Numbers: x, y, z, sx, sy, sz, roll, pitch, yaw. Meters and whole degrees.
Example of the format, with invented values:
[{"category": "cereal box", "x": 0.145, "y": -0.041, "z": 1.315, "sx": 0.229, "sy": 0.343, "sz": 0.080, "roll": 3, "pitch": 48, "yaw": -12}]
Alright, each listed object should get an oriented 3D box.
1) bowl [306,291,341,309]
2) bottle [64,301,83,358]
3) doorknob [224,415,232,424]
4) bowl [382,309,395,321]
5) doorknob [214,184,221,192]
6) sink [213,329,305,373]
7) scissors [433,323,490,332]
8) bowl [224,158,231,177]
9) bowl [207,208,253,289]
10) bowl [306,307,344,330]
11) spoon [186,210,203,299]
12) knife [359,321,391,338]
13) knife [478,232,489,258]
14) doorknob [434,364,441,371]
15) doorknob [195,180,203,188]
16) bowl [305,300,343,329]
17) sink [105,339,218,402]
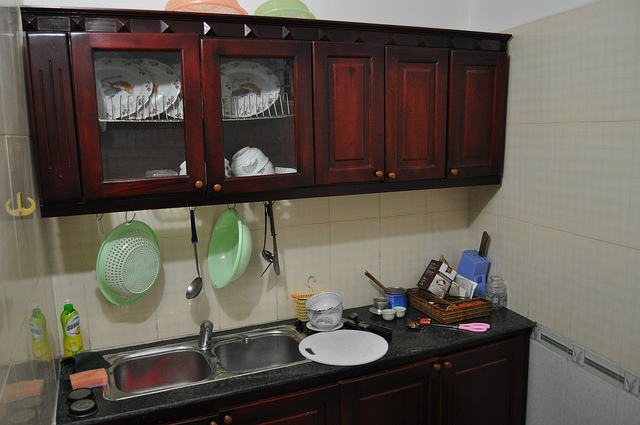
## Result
[{"category": "bowl", "x": 0.020, "y": 0.510, "z": 2.866, "sx": 0.123, "sy": 0.049, "sz": 0.124, "roll": -8, "pitch": 25, "yaw": 4}, {"category": "bottle", "x": -1.283, "y": 0.600, "z": 2.555, "sx": 0.078, "sy": 0.272, "sz": 0.117, "roll": -3, "pitch": 12, "yaw": -3}, {"category": "doorknob", "x": -0.437, "y": 0.976, "z": 2.337, "sx": 0.028, "sy": 0.036, "sz": 0.025, "roll": 6, "pitch": 49, "yaw": 6}, {"category": "bowl", "x": 0.403, "y": 0.595, "z": 2.903, "sx": 0.062, "sy": 0.040, "sz": 0.056, "roll": 0, "pitch": 4, "yaw": -34}, {"category": "doorknob", "x": -0.505, "y": -0.122, "z": 2.433, "sx": 0.026, "sy": 0.040, "sz": 0.026, "roll": 0, "pitch": 13, "yaw": 10}, {"category": "sink", "x": -0.354, "y": 0.785, "z": 2.746, "sx": 0.335, "sy": 0.133, "sz": 0.258, "roll": -5, "pitch": 16, "yaw": -22}, {"category": "scissors", "x": 0.849, "y": 0.638, "z": 2.792, "sx": 0.202, "sy": 0.023, "sz": 0.068, "roll": 0, "pitch": 5, "yaw": 13}, {"category": "bowl", "x": -0.460, "y": -0.225, "z": 2.454, "sx": 0.033, "sy": 0.090, "sz": 0.015, "roll": -7, "pitch": 13, "yaw": -21}, {"category": "bowl", "x": -0.490, "y": 0.199, "z": 2.691, "sx": 0.168, "sy": 0.419, "sz": 0.308, "roll": -13, "pitch": 16, "yaw": -39}, {"category": "bowl", "x": 0.046, "y": 0.600, "z": 2.846, "sx": 0.213, "sy": 0.104, "sz": 0.110, "roll": -8, "pitch": 14, "yaw": -22}, {"category": "spoon", "x": -0.711, "y": 0.230, "z": 2.718, "sx": 0.093, "sy": 0.495, "sz": 0.080, "roll": -6, "pitch": 13, "yaw": -15}, {"category": "knife", "x": 0.300, "y": 0.639, "z": 2.792, "sx": 0.056, "sy": 0.029, "sz": 0.248, "roll": -14, "pitch": 16, "yaw": -37}, {"category": "knife", "x": 1.035, "y": 0.196, "z": 3.134, "sx": 0.048, "sy": 0.152, "sz": 0.047, "roll": -11, "pitch": 15, "yaw": -33}, {"category": "doorknob", "x": 0.627, "y": 0.821, "z": 2.646, "sx": 0.030, "sy": 0.033, "sz": 0.028, "roll": -7, "pitch": 1, "yaw": -12}, {"category": "doorknob", "x": -0.590, "y": -0.141, "z": 2.401, "sx": 0.036, "sy": 0.029, "sz": 0.017, "roll": -6, "pitch": 13, "yaw": -16}, {"category": "bowl", "x": -0.008, "y": 0.602, "z": 2.906, "sx": 0.265, "sy": 0.151, "sz": 0.268, "roll": 4, "pitch": 4, "yaw": 0}, {"category": "sink", "x": -0.813, "y": 0.848, "z": 2.525, "sx": 0.518, "sy": 0.206, "sz": 0.390, "roll": -7, "pitch": 13, "yaw": -21}]
